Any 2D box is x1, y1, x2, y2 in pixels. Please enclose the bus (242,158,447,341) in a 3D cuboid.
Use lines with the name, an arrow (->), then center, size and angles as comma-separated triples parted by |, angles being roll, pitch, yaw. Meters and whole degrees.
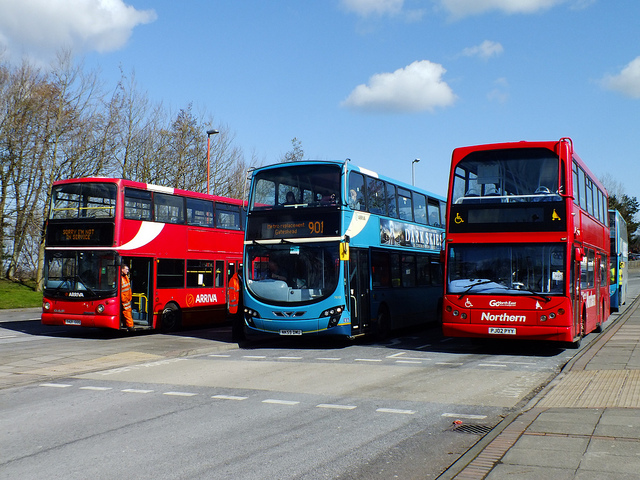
bus -> 2.368, 0.727, 21.518 | 3.190, 5.885, 12.374 | -3, -6, 32

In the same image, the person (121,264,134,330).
person -> -6.636, 1.954, 18.467 | 0.187, 2.208, 0.539 | -4, -7, 40

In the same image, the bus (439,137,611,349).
bus -> 7.801, 0.268, 18.653 | 3.311, 5.788, 10.556 | -1, -4, 35

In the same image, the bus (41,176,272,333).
bus -> -6.284, 0.862, 23.850 | 3.158, 5.755, 12.308 | 0, -3, 19
